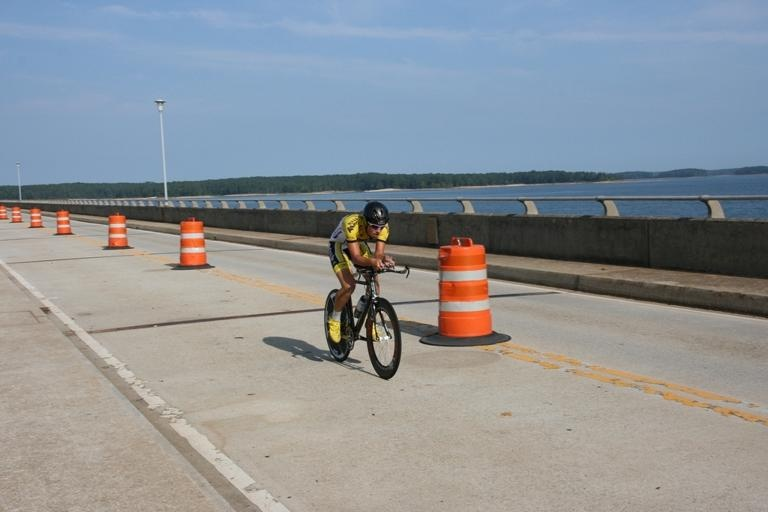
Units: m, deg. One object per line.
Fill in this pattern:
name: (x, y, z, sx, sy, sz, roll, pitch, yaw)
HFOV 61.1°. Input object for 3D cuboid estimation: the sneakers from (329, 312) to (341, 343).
sneakers: (-0.609, 0.900, 8.180, 0.149, 0.372, 0.175, -5, 4, -6)

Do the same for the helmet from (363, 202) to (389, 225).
helmet: (-0.082, -0.498, 7.376, 0.237, 0.213, 0.289, 4, 29, -16)

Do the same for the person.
person: (-0.232, 0.231, 7.843, 0.696, 1.789, 1.129, -4, 9, -20)
